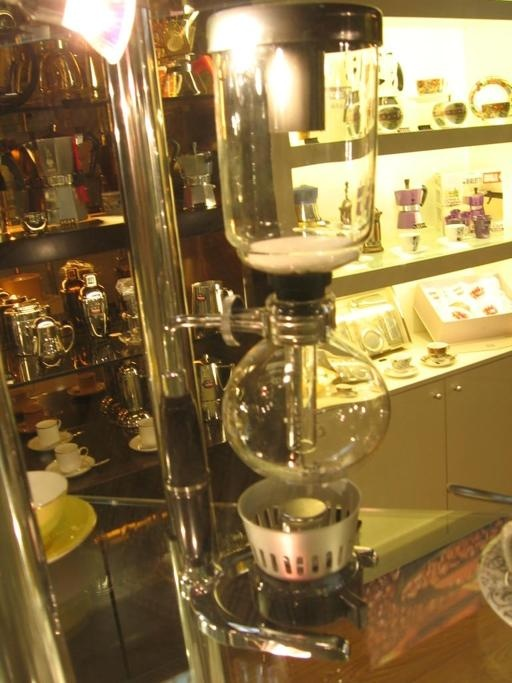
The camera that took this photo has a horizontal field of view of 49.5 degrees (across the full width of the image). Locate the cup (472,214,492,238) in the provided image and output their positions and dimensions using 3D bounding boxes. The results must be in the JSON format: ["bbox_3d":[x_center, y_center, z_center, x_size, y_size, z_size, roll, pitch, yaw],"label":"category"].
[{"bbox_3d":[0.909,-0.463,2.241,0.089,0.095,0.087,-3,6,0],"label":"cup"}]

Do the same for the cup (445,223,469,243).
[{"bbox_3d":[0.802,-0.432,2.223,0.064,0.060,0.080,-1,7,9],"label":"cup"}]

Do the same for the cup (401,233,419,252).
[{"bbox_3d":[0.579,-0.378,2.111,0.072,0.056,0.064,-4,17,1],"label":"cup"}]

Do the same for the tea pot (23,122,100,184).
[{"bbox_3d":[-0.549,-0.548,1.633,0.251,0.189,0.197,-1,26,3],"label":"tea pot"}]

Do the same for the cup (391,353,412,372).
[{"bbox_3d":[0.527,0.074,2.003,0.063,0.048,0.066,-2,8,0],"label":"cup"}]

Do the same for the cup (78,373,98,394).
[{"bbox_3d":[-0.604,0.149,2.068,0.067,0.070,0.067,2,19,-1],"label":"cup"}]

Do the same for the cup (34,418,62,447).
[{"bbox_3d":[-0.625,0.281,1.701,0.065,0.064,0.085,1,2,6],"label":"cup"}]

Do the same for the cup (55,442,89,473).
[{"bbox_3d":[-0.523,0.346,1.626,0.066,0.070,0.102,-3,-8,14],"label":"cup"}]

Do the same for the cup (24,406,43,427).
[{"bbox_3d":[-0.726,0.244,1.819,0.041,0.062,0.067,27,30,32],"label":"cup"}]

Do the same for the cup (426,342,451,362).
[{"bbox_3d":[0.660,0.041,2.017,0.062,0.073,0.083,-3,3,-9],"label":"cup"}]
